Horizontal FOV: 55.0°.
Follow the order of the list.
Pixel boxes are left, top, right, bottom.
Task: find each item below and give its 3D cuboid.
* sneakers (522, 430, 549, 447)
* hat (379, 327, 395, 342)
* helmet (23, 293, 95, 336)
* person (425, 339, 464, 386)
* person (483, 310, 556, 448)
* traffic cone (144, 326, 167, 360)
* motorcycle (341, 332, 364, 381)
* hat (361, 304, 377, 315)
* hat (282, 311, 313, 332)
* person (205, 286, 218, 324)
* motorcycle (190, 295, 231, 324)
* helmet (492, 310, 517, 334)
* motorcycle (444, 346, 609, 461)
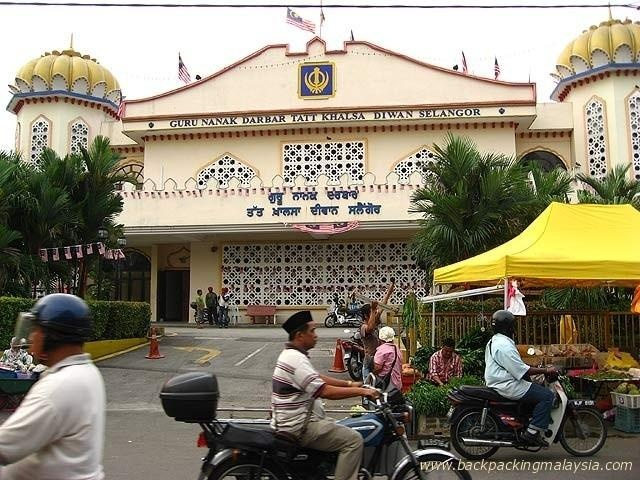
[{"bbox_3d":[2.648,2.474,7.689,0.407,0.179,0.143,3,-4,-1],"label":"sneakers"},{"bbox_3d":[1.027,1.482,9.643,0.231,0.205,0.248,2,8,10],"label":"hat"},{"bbox_3d":[-1.806,0.485,4.278,0.403,0.291,0.288,-4,7,-20],"label":"helmet"},{"bbox_3d":[2.007,2.020,10.003,0.543,0.752,0.720,0,-10,-1],"label":"person"},{"bbox_3d":[2.546,1.758,7.926,0.830,1.697,0.426,-3,-5,19],"label":"person"},{"bbox_3d":[-4.938,3.068,18.275,0.659,0.629,0.560,0,-5,4],"label":"traffic cone"},{"bbox_3d":[0.726,2.573,13.830,0.532,0.625,0.990,0,3,24],"label":"motorcycle"},{"bbox_3d":[0.837,1.237,10.996,0.207,0.204,0.163,-29,21,-12],"label":"hat"},{"bbox_3d":[-0.233,0.773,5.804,0.257,0.101,0.212,-30,-12,23],"label":"hat"},{"bbox_3d":[-4.683,2.819,26.452,0.480,1.591,0.969,0,-5,-9],"label":"person"},{"bbox_3d":[-4.733,3.034,26.349,1.861,1.175,0.992,1,-4,-10],"label":"motorcycle"},{"bbox_3d":[2.373,1.059,8.158,0.255,0.329,0.331,5,17,42],"label":"helmet"},{"bbox_3d":[2.527,2.344,8.453,2.448,1.395,0.940,-3,-3,-2],"label":"motorcycle"}]
